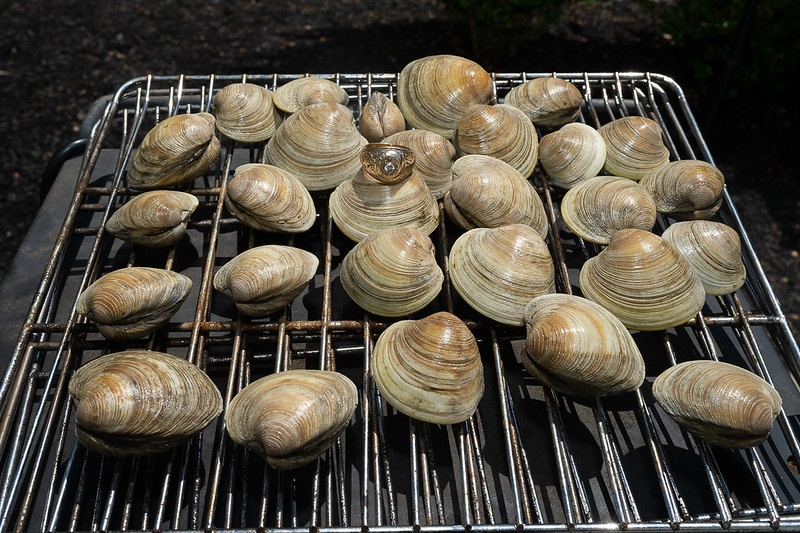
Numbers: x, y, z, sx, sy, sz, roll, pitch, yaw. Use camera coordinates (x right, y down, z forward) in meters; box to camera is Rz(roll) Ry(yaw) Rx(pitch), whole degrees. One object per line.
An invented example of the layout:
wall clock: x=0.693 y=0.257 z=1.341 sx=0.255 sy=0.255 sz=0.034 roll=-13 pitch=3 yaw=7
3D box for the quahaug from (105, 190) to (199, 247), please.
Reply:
quahaug: x=-0.724 y=-0.147 z=2.039 sx=0.213 sy=0.081 sz=0.172 roll=-15 pitch=53 yaw=-12

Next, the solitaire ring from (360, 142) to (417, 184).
solitaire ring: x=-0.035 y=-0.307 z=2.033 sx=0.107 sy=0.075 sz=0.134 roll=4 pitch=17 yaw=-9

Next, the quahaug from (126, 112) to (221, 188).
quahaug: x=-0.686 y=-0.340 z=2.170 sx=0.271 sy=0.100 sz=0.208 roll=-24 pitch=67 yaw=1
